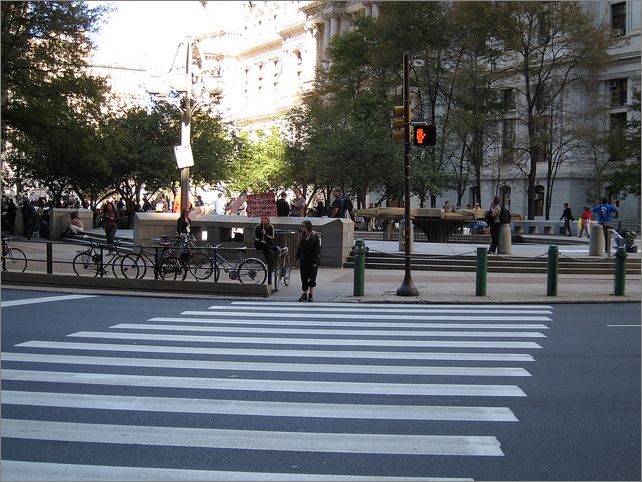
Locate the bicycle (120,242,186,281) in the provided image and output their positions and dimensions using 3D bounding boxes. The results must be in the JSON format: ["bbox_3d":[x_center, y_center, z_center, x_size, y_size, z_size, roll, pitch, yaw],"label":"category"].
[{"bbox_3d":[-4.622,0.650,22.421,2.082,1.038,0.440,2,0,16],"label":"bicycle"}]

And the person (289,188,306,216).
[{"bbox_3d":[-0.917,-1.261,30.953,0.531,0.779,1.328,0,11,-5],"label":"person"}]

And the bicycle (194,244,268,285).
[{"bbox_3d":[-2.460,0.707,21.855,1.928,1.024,0.800,2,9,12],"label":"bicycle"}]

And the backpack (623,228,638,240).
[{"bbox_3d":[12.680,-0.259,33.127,0.597,0.351,0.845,16,8,7],"label":"backpack"}]

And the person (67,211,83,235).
[{"bbox_3d":[-11.738,-0.756,38.437,0.609,1.080,1.418,-3,11,-20],"label":"person"}]

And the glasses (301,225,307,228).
[{"bbox_3d":[-0.446,-0.372,20.317,0.085,0.081,0.100,-1,-10,9],"label":"glasses"}]

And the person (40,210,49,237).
[{"bbox_3d":[-14.189,-0.856,41.268,0.502,1.334,2.145,-3,11,-19],"label":"person"}]

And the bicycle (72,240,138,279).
[{"bbox_3d":[-6.215,0.531,22.823,1.740,0.997,0.865,-1,2,12],"label":"bicycle"}]

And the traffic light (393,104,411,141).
[{"bbox_3d":[2.143,-3.145,21.435,0.426,0.920,1.354,2,11,5],"label":"traffic light"}]

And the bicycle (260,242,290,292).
[{"bbox_3d":[-1.145,0.683,23.210,0.797,0.972,1.696,-16,0,15],"label":"bicycle"}]

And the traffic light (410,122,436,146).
[{"bbox_3d":[2.678,-2.764,20.865,0.567,0.542,0.505,2,11,4],"label":"traffic light"}]

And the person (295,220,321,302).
[{"bbox_3d":[-0.343,0.514,20.709,0.555,2.097,0.715,1,11,-2],"label":"person"}]

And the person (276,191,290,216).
[{"bbox_3d":[-1.433,-1.355,29.917,0.504,0.948,1.601,0,11,-3],"label":"person"}]
